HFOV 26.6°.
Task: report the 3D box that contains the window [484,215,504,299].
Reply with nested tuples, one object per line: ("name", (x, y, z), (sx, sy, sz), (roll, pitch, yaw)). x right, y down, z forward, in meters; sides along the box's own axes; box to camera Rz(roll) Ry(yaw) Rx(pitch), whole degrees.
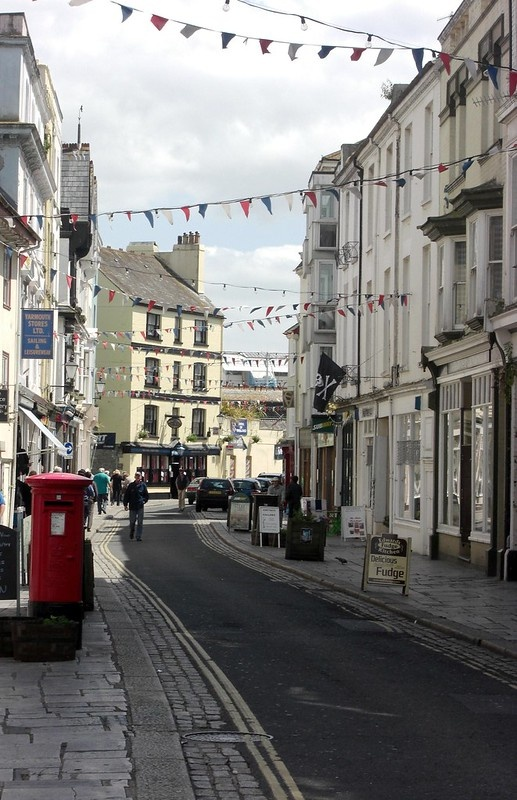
("window", (4.341, -2.538, 19.798), (0.431, 2.154, 0.239), (-1, -26, 17))

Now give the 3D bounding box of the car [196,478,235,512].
("car", (-1.823, 3.860, 46.013), (0.958, 0.918, 2.346), (0, 0, 1))

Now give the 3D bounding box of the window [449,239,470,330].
("window", (4.167, -2.438, 22.359), (0.351, 1.899, 0.200), (0, -1, 31))

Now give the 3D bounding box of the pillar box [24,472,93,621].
("pillar box", (-1.820, 1.309, 9.791), (0.501, 1.282, 0.395), (2, -5, -12))

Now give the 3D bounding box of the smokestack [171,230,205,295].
("smokestack", (-5.393, -10.261, 80.960), (1.959, 5.256, 0.696), (0, 28, -9))

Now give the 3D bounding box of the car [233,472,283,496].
("car", (-0.304, 3.539, 45.926), (1.111, 0.916, 2.405), (0, 4, 10))
